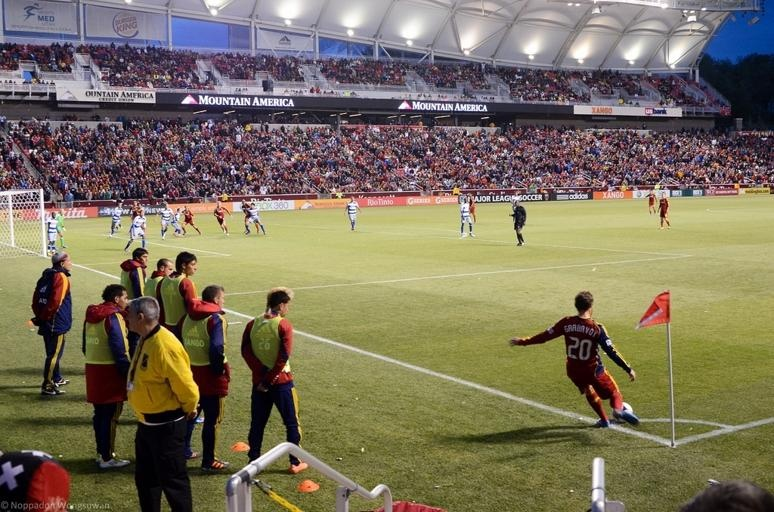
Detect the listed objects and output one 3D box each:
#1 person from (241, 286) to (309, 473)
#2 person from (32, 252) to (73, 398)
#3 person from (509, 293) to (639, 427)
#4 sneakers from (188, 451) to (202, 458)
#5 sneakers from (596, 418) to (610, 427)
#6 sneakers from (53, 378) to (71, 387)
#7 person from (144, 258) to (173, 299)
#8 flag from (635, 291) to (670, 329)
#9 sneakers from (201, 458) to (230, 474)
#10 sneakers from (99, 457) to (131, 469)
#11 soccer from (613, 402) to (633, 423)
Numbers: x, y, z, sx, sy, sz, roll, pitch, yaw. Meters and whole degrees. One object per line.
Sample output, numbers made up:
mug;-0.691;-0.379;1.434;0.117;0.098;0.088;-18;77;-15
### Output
person;-1.777;1.863;11.121;0.891;2.657;0.887;0;8;-12
person;-6.471;1.234;13.846;0.697;2.620;1.331;-2;8;-25
person;3.369;1.742;12.047;1.514;2.205;0.404;4;8;21
sneakers;-3.054;3.165;11.430;0.197;0.080;0.064;-6;12;-26
sneakers;3.628;2.796;11.982;0.124;0.083;0.206;0;-7;37
sneakers;-6.316;2.455;13.908;0.084;0.091;0.237;10;7;21
person;-4.553;0.471;14.286;0.456;0.740;0.573;2;15;-31
flag;4.548;0.893;12.029;0.390;0.680;0.758;5;9;27
sneakers;-2.651;3.249;11.145;0.499;0.217;0.164;-1;7;-10
sneakers;-4.229;3.201;11.202;0.501;0.191;0.174;1;3;-11
soccer;3.889;2.582;11.790;0.421;0.169;0.244;-32;18;-27
